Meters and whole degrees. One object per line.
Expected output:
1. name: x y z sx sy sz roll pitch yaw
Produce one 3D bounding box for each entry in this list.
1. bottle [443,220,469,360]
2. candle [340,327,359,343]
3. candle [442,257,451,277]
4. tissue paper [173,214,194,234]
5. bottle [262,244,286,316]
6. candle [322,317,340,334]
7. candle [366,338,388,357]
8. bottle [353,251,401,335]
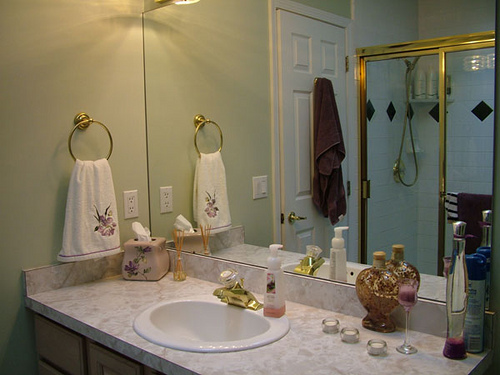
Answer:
1. bottle: 0.657 0.319 1.212 0.070 0.418 0.141 3 10 29
2. candle: 0.336 0.497 1.295 0.039 0.026 0.042 1 -3 -6
3. candle: 0.674 0.272 1.316 0.022 0.064 0.018 2 9 24
4. tissue paper: -0.345 0.191 1.990 0.087 0.100 0.038 -34 -23 31
5. bottle: 0.088 0.353 1.463 0.091 0.274 0.107 -1 9 1
6. candle: 0.285 0.488 1.361 0.040 0.028 0.043 1 5 14
7. candle: 0.402 0.509 1.218 0.043 0.030 0.045 -2 5 -26
8. bottle: 0.439 0.368 1.347 0.171 0.281 0.224 2 10 22
